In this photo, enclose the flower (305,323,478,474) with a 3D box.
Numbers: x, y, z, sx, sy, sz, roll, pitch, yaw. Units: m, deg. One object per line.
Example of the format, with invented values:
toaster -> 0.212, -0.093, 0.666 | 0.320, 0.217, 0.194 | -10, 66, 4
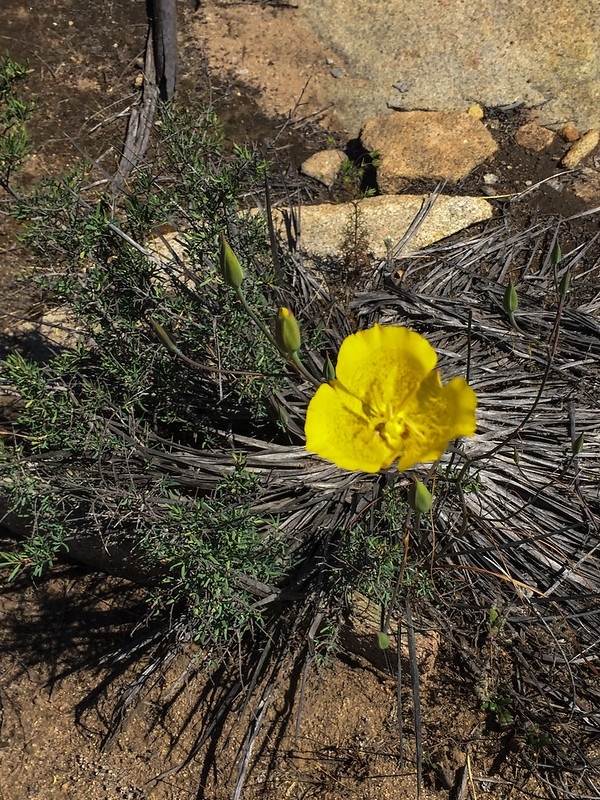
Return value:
flower -> 0.255, 0.030, 1.699 | 0.406, 0.138, 0.439 | 21, 57, 15
